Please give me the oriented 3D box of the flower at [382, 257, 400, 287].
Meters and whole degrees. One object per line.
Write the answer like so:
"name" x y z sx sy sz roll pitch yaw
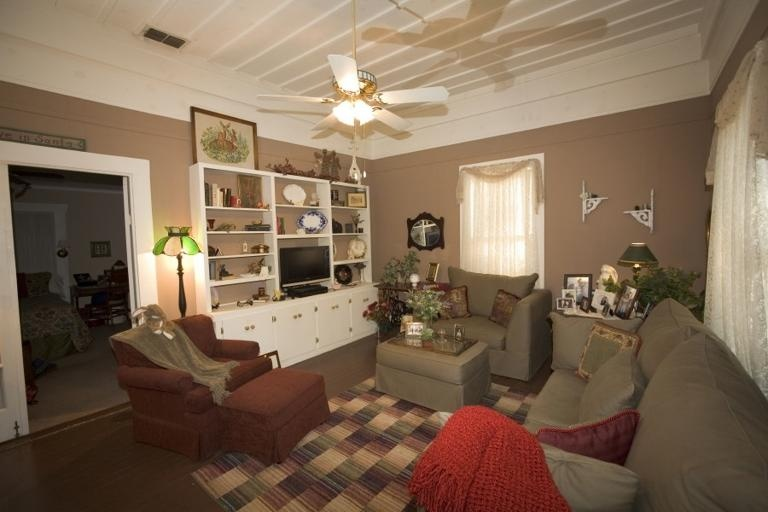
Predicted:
"flower" 0.092 0.249 7.937 0.182 0.401 0.320 22 3 14

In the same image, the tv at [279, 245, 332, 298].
"tv" -1.191 0.216 7.048 0.273 0.637 0.784 -3 -2 42

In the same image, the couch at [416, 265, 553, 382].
"couch" 1.407 0.882 6.569 1.738 1.341 1.337 0 1 39

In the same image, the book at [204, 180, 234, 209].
"book" -2.167 -0.777 6.311 0.316 0.406 0.427 -4 -2 36

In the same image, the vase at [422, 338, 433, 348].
"vase" 0.523 1.028 5.683 0.114 0.081 0.108 2 -6 -10

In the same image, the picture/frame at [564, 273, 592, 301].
"picture/frame" 2.661 0.416 6.499 0.383 0.435 0.031 1 -8 40

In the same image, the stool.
"stool" -1.118 1.529 5.100 0.955 0.465 0.762 -10 6 24

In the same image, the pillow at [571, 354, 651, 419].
"pillow" 1.985 1.134 4.133 0.436 0.417 0.242 -31 44 -31

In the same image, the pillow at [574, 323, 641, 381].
"pillow" 2.267 0.966 4.820 0.169 0.551 0.549 13 3 -27

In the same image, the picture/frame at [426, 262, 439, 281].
"picture/frame" 0.791 0.243 7.769 0.037 0.351 0.270 8 -1 -44

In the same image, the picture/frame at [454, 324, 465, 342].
"picture/frame" 0.930 0.953 5.914 0.202 0.222 0.023 4 9 31

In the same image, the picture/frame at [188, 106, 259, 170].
"picture/frame" -2.211 -1.608 6.447 1.031 0.860 0.096 -1 -1 -45

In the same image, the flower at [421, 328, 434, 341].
"flower" 0.535 0.941 5.775 0.116 0.132 0.133 2 -1 4

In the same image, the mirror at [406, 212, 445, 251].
"mirror" 0.715 -0.434 7.929 0.667 0.612 0.025 0 2 34

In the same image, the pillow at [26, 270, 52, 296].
"pillow" -6.005 0.467 8.254 0.138 0.465 0.410 -9 -5 32

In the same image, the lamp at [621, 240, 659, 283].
"lamp" 2.971 0.031 5.636 0.448 0.655 0.474 0 4 33

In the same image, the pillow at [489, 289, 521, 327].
"pillow" 1.623 0.695 6.471 0.139 0.422 0.453 21 4 -15

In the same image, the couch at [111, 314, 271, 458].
"couch" -2.037 1.432 5.396 1.536 1.297 1.443 1 4 27

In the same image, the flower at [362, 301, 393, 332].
"flower" -0.109 0.939 7.732 0.463 0.273 0.467 1 5 -33

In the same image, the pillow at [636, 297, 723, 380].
"pillow" 2.662 0.855 4.402 0.506 0.823 1.539 6 2 26

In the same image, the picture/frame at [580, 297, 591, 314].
"picture/frame" 2.513 0.605 5.933 0.019 0.169 0.159 12 -9 -12

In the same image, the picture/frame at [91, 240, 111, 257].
"picture/frame" -5.703 -0.152 9.611 0.310 0.282 0.081 -8 10 -42

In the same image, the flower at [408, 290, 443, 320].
"flower" 0.531 0.573 5.978 0.456 0.387 0.438 2 4 5

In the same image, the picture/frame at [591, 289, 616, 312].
"picture/frame" 2.639 0.529 5.755 0.061 0.226 0.245 15 -1 -26

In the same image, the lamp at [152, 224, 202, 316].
"lamp" -2.546 0.193 5.950 0.545 1.150 0.504 -4 5 -25

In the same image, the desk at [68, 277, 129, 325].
"desk" -5.195 0.818 9.141 0.590 0.727 0.789 -6 4 -34

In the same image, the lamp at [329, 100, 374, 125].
"lamp" -0.308 -1.457 4.834 0.391 0.182 0.319 -2 4 0

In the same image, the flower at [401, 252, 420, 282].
"flower" 0.427 0.141 7.983 0.316 0.479 0.407 0 5 25

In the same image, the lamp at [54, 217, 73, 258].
"lamp" -6.147 -0.332 9.114 0.254 0.722 0.142 -6 6 -41
